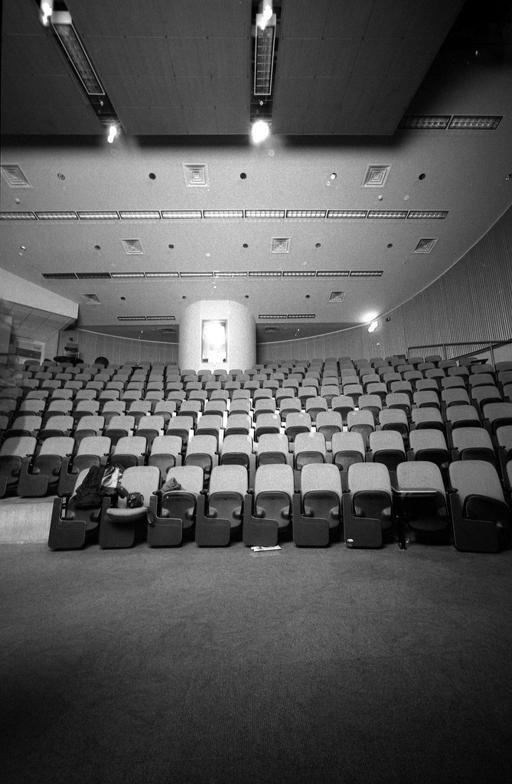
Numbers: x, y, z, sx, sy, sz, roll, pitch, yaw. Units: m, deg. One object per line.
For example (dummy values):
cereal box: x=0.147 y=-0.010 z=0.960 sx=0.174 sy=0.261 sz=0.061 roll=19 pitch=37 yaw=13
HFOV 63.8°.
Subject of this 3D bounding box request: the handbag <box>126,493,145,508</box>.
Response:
handbag: x=-0.943 y=0.852 z=3.181 sx=0.101 sy=0.122 sz=0.094 roll=6 pitch=-16 yaw=-4
